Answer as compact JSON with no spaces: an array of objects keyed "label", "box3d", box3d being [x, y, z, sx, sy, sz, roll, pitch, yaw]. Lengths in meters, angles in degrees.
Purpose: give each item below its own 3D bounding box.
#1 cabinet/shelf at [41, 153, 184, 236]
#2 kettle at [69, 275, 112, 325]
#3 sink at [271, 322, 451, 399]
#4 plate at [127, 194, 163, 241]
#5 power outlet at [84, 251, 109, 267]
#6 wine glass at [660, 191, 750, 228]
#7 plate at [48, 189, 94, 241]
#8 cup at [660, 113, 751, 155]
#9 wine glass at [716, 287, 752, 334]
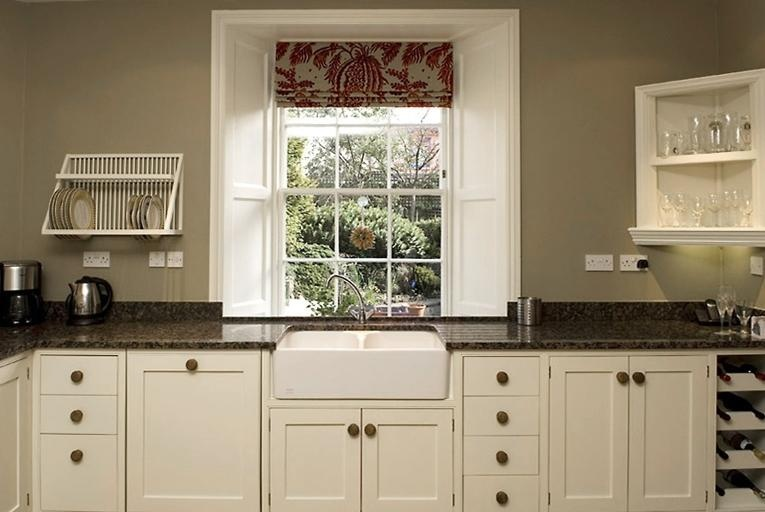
[{"label":"cabinet/shelf","box3d":[-1.843,-0.426,5.036,0.783,0.552,0.249,0,3,-17]},{"label":"kettle","box3d":[-1.970,0.314,4.785,0.321,0.339,0.270,2,-1,-25]},{"label":"sink","box3d":[-0.129,0.700,4.585,1.090,0.397,0.463,-1,-1,2]},{"label":"plate","box3d":[-1.614,-0.289,4.827,0.237,0.259,0.156,0,-1,-12]},{"label":"power outlet","box3d":[-1.989,0.026,4.949,0.189,0.116,0.021,-1,-1,8]},{"label":"wine glass","box3d":[2.128,-0.301,4.704,0.548,0.224,0.147,-1,-1,15]},{"label":"plate","box3d":[-2.092,-0.303,4.797,0.295,0.307,0.163,0,-1,-24]},{"label":"cup","box3d":[2.136,-0.782,4.674,0.426,0.229,0.257,-5,0,18]},{"label":"wine glass","box3d":[2.301,0.354,4.652,0.191,0.303,0.375,-1,-1,28]}]
